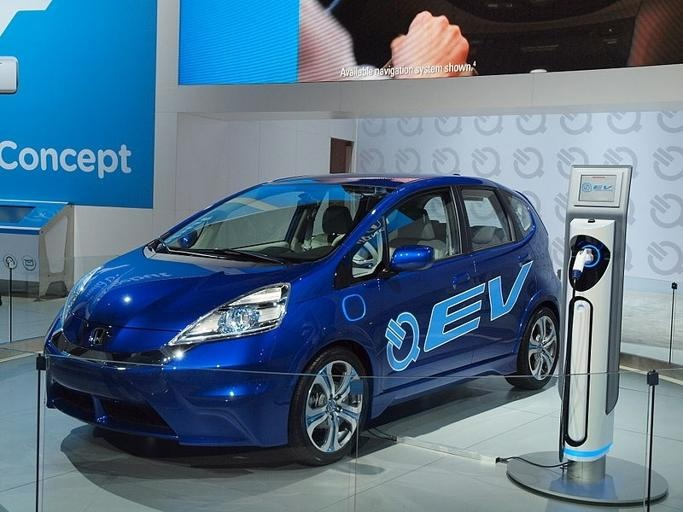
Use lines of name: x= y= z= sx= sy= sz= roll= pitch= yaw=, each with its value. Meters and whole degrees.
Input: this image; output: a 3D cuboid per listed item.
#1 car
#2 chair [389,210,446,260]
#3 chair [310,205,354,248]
car: x=0.100 y=0.283 z=3.167 sx=1.619 sy=1.065 sz=2.586 roll=5 pitch=6 yaw=44
chair: x=0.470 y=-0.155 z=3.428 sx=0.391 sy=0.369 sz=0.331 roll=0 pitch=1 yaw=-1
chair: x=-0.026 y=-0.183 z=3.442 sx=0.273 sy=0.292 sz=0.287 roll=0 pitch=1 yaw=-44
